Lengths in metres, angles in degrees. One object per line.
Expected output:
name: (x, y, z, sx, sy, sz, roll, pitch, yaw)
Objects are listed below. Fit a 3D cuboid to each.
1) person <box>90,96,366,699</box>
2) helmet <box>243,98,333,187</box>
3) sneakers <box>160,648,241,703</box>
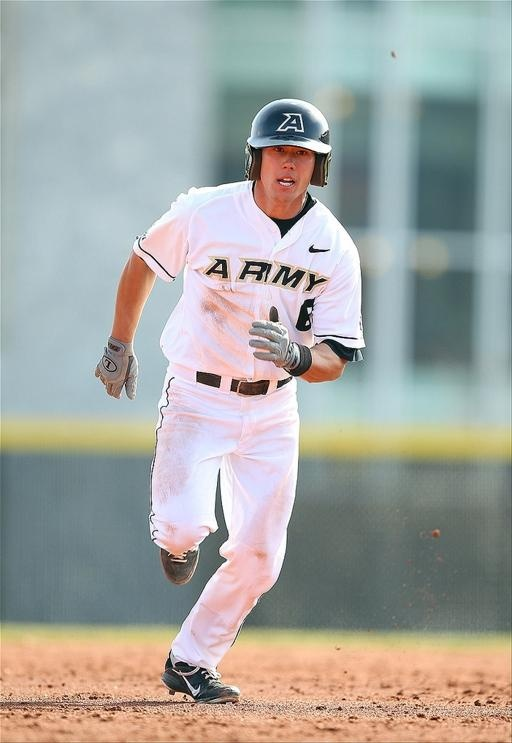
person: (-0.106, 0.116, 4.994, 0.940, 1.817, 0.575, 2, -1, 8)
helmet: (0.113, -0.807, 4.960, 0.334, 0.294, 0.336, 4, 0, -44)
sneakers: (-0.217, 1.126, 5.108, 0.321, 0.156, 0.113, 5, -6, 34)
